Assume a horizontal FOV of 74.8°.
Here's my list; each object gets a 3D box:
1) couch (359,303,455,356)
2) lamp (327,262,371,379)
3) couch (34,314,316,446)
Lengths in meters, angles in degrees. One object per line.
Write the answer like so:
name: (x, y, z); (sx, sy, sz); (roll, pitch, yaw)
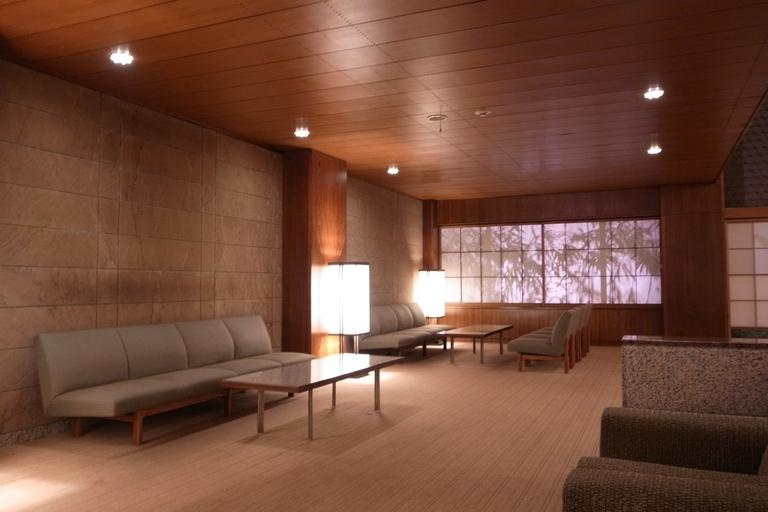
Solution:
couch: (0.365, 1.291, 8.682); (0.862, 0.819, 2.405); (2, -1, 26)
lamp: (-0.506, 0.861, 6.948); (0.659, 1.444, 0.670); (-5, -8, 43)
couch: (-2.027, 1.121, 4.902); (0.867, 0.941, 2.023); (-5, -4, 32)
